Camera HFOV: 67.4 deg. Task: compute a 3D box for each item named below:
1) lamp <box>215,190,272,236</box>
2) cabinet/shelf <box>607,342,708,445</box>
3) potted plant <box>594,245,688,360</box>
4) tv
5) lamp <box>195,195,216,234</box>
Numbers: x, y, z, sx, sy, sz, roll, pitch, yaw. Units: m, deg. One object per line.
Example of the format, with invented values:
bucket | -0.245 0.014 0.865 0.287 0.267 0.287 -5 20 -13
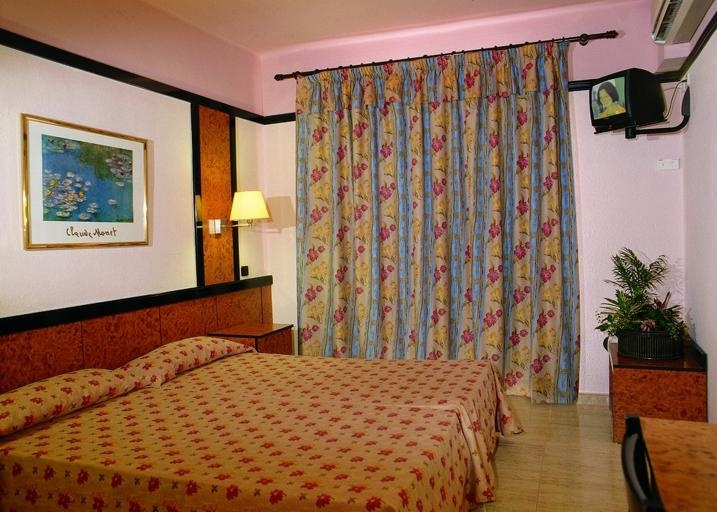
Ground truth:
lamp | -1.122 -0.418 5.433 0.529 0.367 0.384 -3 -1 24
cabinet/shelf | 2.095 0.949 3.738 0.397 0.579 0.829 0 1 23
potted plant | 2.429 0.395 4.534 0.644 0.890 0.622 -4 -4 4
tv | 2.372 -1.364 4.768 0.518 0.476 0.536 -9 6 -27
lamp | -1.475 -0.391 5.247 0.063 0.406 0.267 4 10 32
